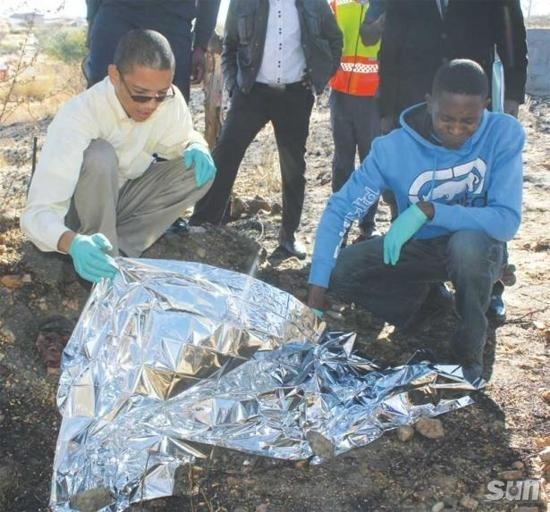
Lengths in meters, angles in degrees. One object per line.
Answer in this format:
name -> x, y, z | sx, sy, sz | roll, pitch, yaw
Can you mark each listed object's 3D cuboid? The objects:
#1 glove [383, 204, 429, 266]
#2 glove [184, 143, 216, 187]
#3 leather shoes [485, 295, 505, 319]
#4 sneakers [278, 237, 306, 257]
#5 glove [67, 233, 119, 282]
glove -> 0.620, -0.094, 4.027 | 0.169, 0.313, 0.092 | 37, 22, 27
glove -> -0.396, -0.490, 4.348 | 0.160, 0.227, 0.064 | 26, -36, -34
leather shoes -> 1.155, 0.273, 4.352 | 0.058, 0.072, 0.168 | -2, 14, 5
sneakers -> 0.104, -0.058, 5.023 | 0.154, 0.072, 0.086 | 22, 37, 32
glove -> -0.797, 0.006, 3.627 | 0.160, 0.161, 0.255 | -10, 23, -24
